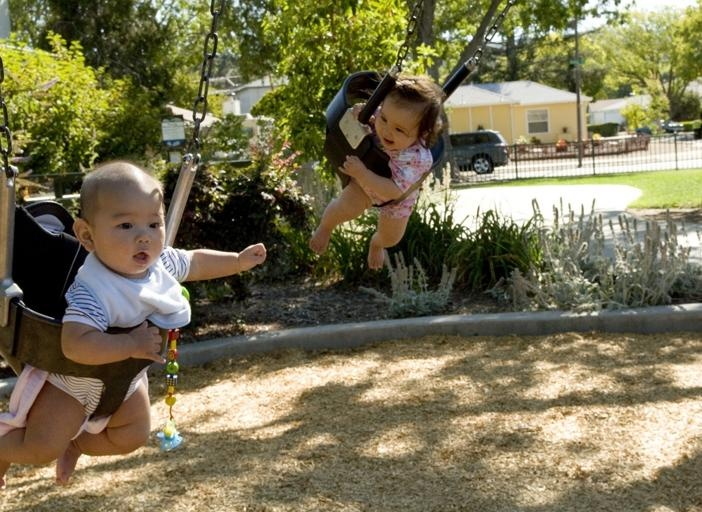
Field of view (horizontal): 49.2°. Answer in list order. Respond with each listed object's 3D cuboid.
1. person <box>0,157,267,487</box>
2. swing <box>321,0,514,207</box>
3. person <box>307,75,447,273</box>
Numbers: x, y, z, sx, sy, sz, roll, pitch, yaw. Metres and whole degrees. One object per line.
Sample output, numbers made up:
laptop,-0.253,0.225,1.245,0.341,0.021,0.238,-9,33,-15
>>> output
person,-1.104,0.337,3.595,1.176,1.551,0.529,-2,3,-10
swing,0.302,-0.944,4.514,0.922,1.285,0.684,-2,3,-4
person,0.140,-0.498,4.694,0.610,1.392,0.535,25,48,11
